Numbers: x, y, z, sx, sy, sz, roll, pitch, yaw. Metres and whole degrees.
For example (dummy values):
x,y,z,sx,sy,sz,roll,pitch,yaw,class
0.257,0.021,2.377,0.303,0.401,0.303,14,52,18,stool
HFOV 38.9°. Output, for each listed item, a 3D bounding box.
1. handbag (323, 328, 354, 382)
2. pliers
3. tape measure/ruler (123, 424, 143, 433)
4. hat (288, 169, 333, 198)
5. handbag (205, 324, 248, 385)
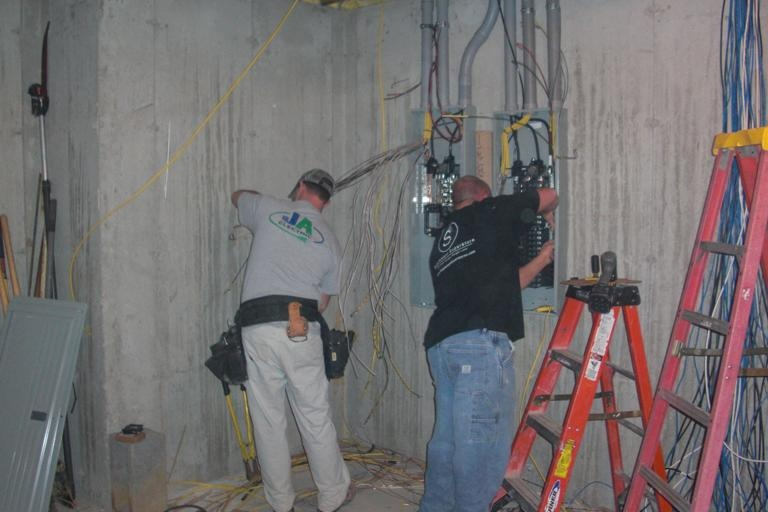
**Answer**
x,y,z,sx,sy,sz,roll,pitch,yaw,class
-0.307,0.626,7.026,0.085,0.304,0.225,1,-6,35,handbag
-0.932,1.158,7.279,0.194,0.780,0.091,-14,3,-30,pliers
-1.577,1.078,6.838,0.064,0.026,0.066,4,6,10,tape measure/ruler
-0.483,-0.471,7.115,0.164,0.124,0.265,20,8,-35,hat
-1.011,0.654,7.026,0.260,0.407,0.257,-6,35,-8,handbag
